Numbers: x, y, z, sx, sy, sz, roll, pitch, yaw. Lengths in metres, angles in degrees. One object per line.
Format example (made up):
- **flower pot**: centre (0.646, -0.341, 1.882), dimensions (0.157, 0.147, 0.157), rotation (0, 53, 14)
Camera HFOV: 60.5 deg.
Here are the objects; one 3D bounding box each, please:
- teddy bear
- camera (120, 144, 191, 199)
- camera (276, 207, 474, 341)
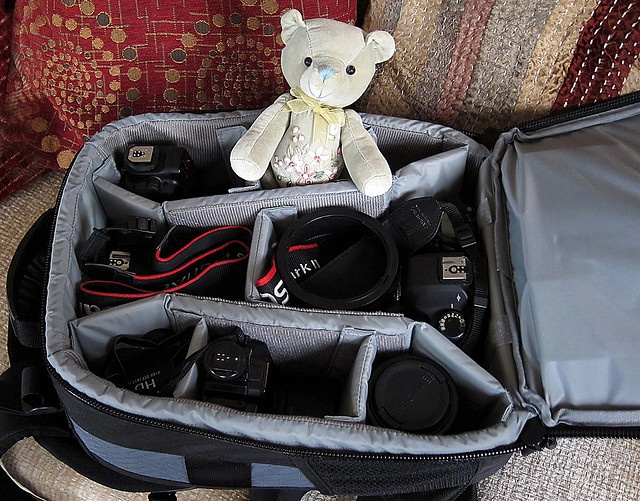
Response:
- **teddy bear**: centre (-0.011, -0.330, 1.250), dimensions (0.320, 0.422, 0.321), rotation (9, 60, -2)
- **camera**: centre (-0.416, -0.184, 1.387), dimensions (0.147, 0.148, 0.116), rotation (-4, 51, -3)
- **camera**: centre (0.141, 0.032, 1.249), dimensions (0.361, 0.117, 0.326), rotation (1, 67, 5)
